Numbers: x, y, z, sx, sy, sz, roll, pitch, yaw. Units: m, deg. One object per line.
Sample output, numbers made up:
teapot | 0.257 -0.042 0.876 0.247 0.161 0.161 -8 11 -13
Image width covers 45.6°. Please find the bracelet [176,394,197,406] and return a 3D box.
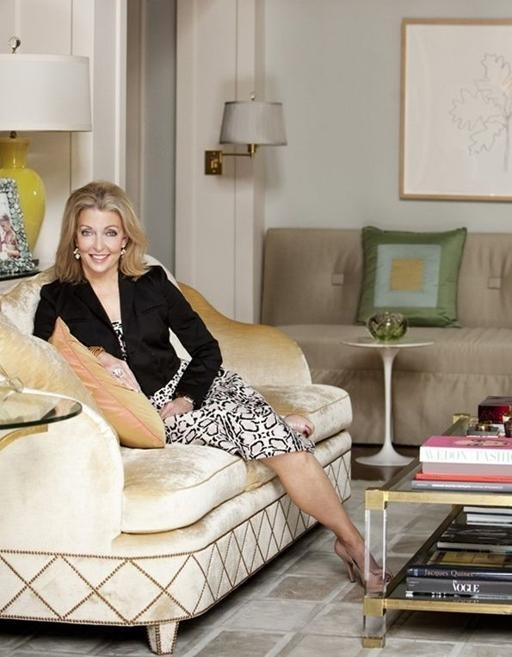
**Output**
bracelet | -0.201 0.210 1.799 0.037 0.031 0.033 24 31 18

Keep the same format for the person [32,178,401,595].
person | -0.068 0.121 1.662 1.356 0.663 0.519 24 27 24

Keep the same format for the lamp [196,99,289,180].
lamp | -0.060 -1.315 4.247 0.576 0.486 0.432 5 17 21
